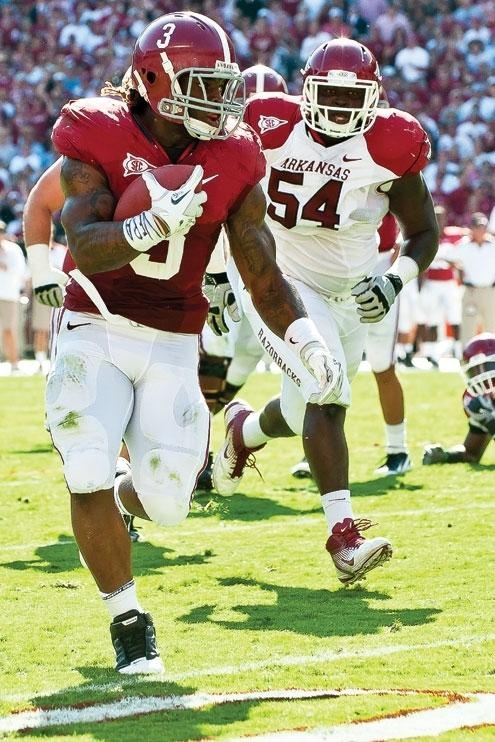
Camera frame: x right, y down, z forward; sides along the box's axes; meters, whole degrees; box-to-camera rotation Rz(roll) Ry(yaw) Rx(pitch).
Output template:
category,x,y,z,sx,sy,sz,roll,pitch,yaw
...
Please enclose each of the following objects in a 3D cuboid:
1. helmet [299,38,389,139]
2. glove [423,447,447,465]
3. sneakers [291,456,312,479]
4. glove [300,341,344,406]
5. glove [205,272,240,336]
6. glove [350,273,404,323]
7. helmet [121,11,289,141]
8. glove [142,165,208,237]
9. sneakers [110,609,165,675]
category,x,y,z,sx,sy,sz,roll,pitch,yaw
helmet,0.333,-1.037,2.947,0.318,0.297,0.370,2,42,4
glove,1.048,0.474,4.461,0.096,0.116,0.124,24,15,24
sneakers,0.315,0.542,4.590,0.104,0.118,0.285,5,14,5
glove,0.175,0.003,2.135,0.076,0.129,0.179,-48,12,0
glove,-0.107,-0.272,3.167,0.193,0.214,0.063,-10,26,2
glove,0.445,-0.261,2.768,0.098,0.135,0.194,-13,16,34
helmet,-0.126,-0.760,2.059,0.367,0.290,0.278,32,32,32
glove,-0.166,-0.386,1.780,0.135,0.195,0.230,-3,-2,-6
sneakers,-0.230,0.601,1.730,0.074,0.072,0.196,-5,-9,-8
